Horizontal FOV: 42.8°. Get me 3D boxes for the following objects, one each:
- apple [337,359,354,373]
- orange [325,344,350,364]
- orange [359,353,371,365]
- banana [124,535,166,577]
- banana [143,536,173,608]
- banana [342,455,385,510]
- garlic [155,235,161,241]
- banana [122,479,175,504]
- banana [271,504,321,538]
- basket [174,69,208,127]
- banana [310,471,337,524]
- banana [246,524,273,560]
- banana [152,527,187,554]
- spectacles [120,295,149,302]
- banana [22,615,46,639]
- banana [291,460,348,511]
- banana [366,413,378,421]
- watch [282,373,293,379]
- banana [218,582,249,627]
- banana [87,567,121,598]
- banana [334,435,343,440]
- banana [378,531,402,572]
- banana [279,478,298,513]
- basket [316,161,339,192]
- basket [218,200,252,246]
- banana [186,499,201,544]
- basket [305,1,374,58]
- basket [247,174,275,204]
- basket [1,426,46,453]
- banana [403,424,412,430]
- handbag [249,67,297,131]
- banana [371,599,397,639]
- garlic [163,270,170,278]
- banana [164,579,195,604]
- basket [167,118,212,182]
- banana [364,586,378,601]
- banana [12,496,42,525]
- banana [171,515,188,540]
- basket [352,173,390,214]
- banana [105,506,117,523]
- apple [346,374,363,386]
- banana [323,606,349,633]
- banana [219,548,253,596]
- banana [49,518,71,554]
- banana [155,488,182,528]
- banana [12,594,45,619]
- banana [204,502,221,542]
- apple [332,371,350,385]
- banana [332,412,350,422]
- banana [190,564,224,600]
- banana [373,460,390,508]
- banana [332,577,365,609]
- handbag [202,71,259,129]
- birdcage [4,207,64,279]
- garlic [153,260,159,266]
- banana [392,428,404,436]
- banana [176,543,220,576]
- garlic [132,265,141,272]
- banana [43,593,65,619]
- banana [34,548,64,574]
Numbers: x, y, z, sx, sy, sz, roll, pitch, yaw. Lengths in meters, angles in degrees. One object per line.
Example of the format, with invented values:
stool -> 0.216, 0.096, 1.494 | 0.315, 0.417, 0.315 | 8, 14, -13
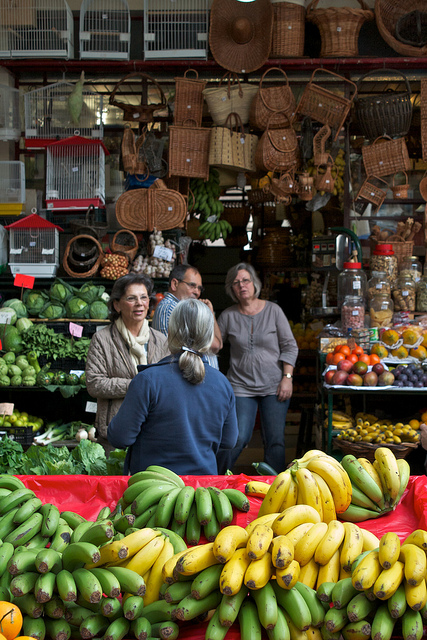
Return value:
apple -> 0.822, 0.291, 3.390 | 0.089, 0.073, 0.078 | 15, 8, 16
orange -> 0.812, 0.216, 3.570 | 0.096, 0.065, 0.151 | -3, 32, 11
orange -> 0.968, 0.248, 3.503 | 0.064, 0.077, 0.064 | -17, 10, -8
banana -> -0.128, 0.466, 1.104 | 0.039, 0.031, 0.113 | -49, -2, 43
banana -> -0.111, 0.506, 1.106 | 0.046, 0.131, 0.030 | 30, -24, -32
banana -> 0.420, 0.462, 1.521 | 0.046, 0.170, 0.056 | -45, -3, 9
garlic -> -0.454, -0.661, 4.400 | 0.037, 0.043, 0.036 | -3, 7, -37
banana -> -0.191, 0.432, 1.396 | 0.072, 0.028, 0.080 | 9, 18, 38
banana -> 0.180, 0.432, 1.166 | 0.096, 0.046, 0.026 | -6, -27, -42
basket -> -0.275, -1.897, 4.644 | 0.353, 0.469, 0.350 | 8, 23, 16
banana -> 0.287, 0.460, 1.377 | 0.049, 0.147, 0.040 | -20, -2, 34
banana -> 0.082, 0.412, 1.009 | 0.029, 0.025, 0.059 | -6, 22, 18
banana -> -0.098, 0.497, 1.228 | 0.068, 0.021, 0.058 | 44, 0, 8
spectacles -> -0.403, -0.107, 2.760 | 0.139, 0.035, 0.072 | 0, 3, -11
banana -> -0.311, 0.534, 0.944 | 0.026, 0.044, 0.027 | -31, -28, -15
banana -> 0.285, 0.440, 1.471 | 0.112, 0.137, 0.044 | -23, -16, -23
banana -> 1.083, 0.665, 3.691 | 0.028, 0.036, 0.102 | 7, 12, -24
watch -> 0.530, 0.395, 3.825 | 0.042, 0.026, 0.038 | 0, 0, -11
banana -> 0.032, 0.497, 0.950 | 0.030, 0.109, 0.037 | 23, 43, -5
banana -> -0.198, 0.455, 0.961 | 0.042, 0.028, 0.087 | -3, 13, -20
banana -> 0.771, 0.724, 3.331 | 0.027, 0.026, 0.028 | 3, 12, -1
banana -> 0.328, 0.426, 1.013 | 0.044, 0.032, 0.092 | 6, 18, 17
banana -> 0.185, 0.441, 1.348 | 0.032, 0.093, 0.026 | 8, 5, 42
basket -> 0.949, -1.218, 4.615 | 0.129, 0.240, 0.209 | 2, 3, 11
basket -> 0.239, -1.202, 7.094 | 0.572, 0.667, 0.581 | -1, 2, -8
banana -> -0.048, 0.493, 1.321 | 0.025, 0.096, 0.031 | -3, -14, 4
basket -> 1.016, -2.359, 4.619 | 0.521, 0.600, 0.429 | 0, 12, 9
basket -> 0.485, -1.339, 5.732 | 0.325, 0.335, 0.212 | -2, 15, 0
basket -> -1.421, 0.844, 4.011 | 0.258, 0.155, 0.423 | 1, 3, -2
banana -> 1.226, 0.676, 3.418 | 0.038, 0.027, 0.049 | -1, 1, 1
handbag -> 0.494, -1.808, 4.461 | 0.399, 0.491, 0.249 | 1, 3, 4
banana -> 0.292, 0.521, 0.936 | 0.029, 0.033, 0.099 | 9, 37, 7
garlic -> -0.376, -0.364, 4.343 | 0.042, 0.028, 0.050 | -25, -12, -8
banana -> -0.062, 0.497, 0.993 | 0.064, 0.031, 0.021 | -26, 0, -6
basket -> -0.191, -1.481, 4.655 | 0.389, 0.490, 0.337 | 4, 17, 0
banana -> 0.274, 0.479, 0.948 | 0.023, 0.029, 0.011 | 9, 40, 5
banana -> -0.410, 0.422, 1.204 | 0.027, 0.022, 0.083 | 23, 21, 3
banana -> -0.081, 0.508, 1.321 | 0.022, 0.079, 0.027 | -14, -13, -10
basket -> 1.406, -1.126, 4.778 | 0.349, 0.383, 0.344 | -9, 21, -14
banana -> -0.242, 0.474, 1.317 | 0.031, 0.013, 0.043 | -18, 32, 35
apple -> 0.861, 0.371, 3.311 | 0.079, 0.061, 0.058 | 7, 18, 0
banana -> 0.213, 0.524, 0.951 | 0.025, 0.025, 0.047 | -32, 7, -3
banana -> 0.038, 0.445, 0.957 | 0.033, 0.028, 0.101 | 33, 30, 12
banana -> -0.314, 0.443, 1.124 | 0.024, 0.014, 0.051 | 7, 21, -4
banana -> -0.114, 0.457, 1.318 | 0.029, 0.034, 0.103 | 0, 40, 27
banana -> -0.327, 0.505, 0.960 | 0.056, 0.030, 0.021 | 23, -18, 37
banana -> -0.002, 0.491, 1.319 | 0.024, 0.089, 0.029 | 1, -12, 0
apple -> 0.777, 0.355, 3.323 | 0.094, 0.071, 0.067 | -6, 4, -35
banana -> 0.856, 0.658, 3.646 | 0.110, 0.031, 0.131 | 2, 3, 13
banana -> -0.012, 0.468, 0.970 | 0.062, 0.031, 0.020 | -37, 20, -27
banana -> 0.484, 0.467, 1.554 | 0.044, 0.131, 0.035 | -11, 10, 29
banana -> 0.244, 0.486, 0.971 | 0.024, 0.033, 0.091 | -7, 3, 5
handbag -> 0.173, -1.836, 4.582 | 0.453, 0.444, 0.165 | -4, 10, 14
birdcage -> -1.436, -0.613, 4.371 | 0.424, 0.568, 0.339 | 0, 3, -14
garlic -> -0.458, -0.455, 4.348 | 0.035, 0.041, 0.035 | 3, -16, 16
banana -> 1.143, 0.697, 3.360 | 0.064, 0.043, 0.041 | 0, 3, -13
banana -> -0.029, 0.437, 0.988 | 0.079, 0.036, 0.025 | -21, -28, -31
garlic -> -0.620, -0.412, 4.363 | 0.086, 0.051, 0.027 | 4, 4, 43
banana -> -0.279, 0.506, 0.957 | 0.029, 0.020, 0.056 | 10, 11, -12
banana -> -0.290, 0.428, 0.968 | 0.022, 0.028, 0.100 | -25, -3, -7
